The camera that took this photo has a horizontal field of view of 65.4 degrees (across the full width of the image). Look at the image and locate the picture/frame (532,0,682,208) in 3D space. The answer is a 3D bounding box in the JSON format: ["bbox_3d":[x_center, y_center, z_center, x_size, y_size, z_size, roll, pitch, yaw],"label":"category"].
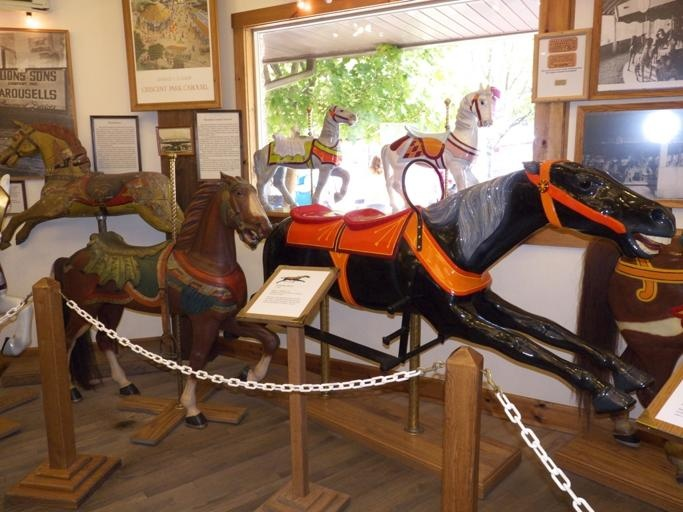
[{"bbox_3d":[1.254,-0.937,2.957,1.107,1.053,0.259,4,1,16],"label":"picture/frame"}]

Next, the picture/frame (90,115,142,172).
[{"bbox_3d":[-1.815,-0.912,4.234,0.486,0.634,0.048,-2,5,-14],"label":"picture/frame"}]

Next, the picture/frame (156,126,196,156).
[{"bbox_3d":[-1.288,-0.911,4.168,0.378,0.280,0.032,2,6,13],"label":"picture/frame"}]

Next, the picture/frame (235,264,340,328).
[{"bbox_3d":[-0.244,0.187,2.491,0.375,0.234,0.335,7,17,27],"label":"picture/frame"}]
